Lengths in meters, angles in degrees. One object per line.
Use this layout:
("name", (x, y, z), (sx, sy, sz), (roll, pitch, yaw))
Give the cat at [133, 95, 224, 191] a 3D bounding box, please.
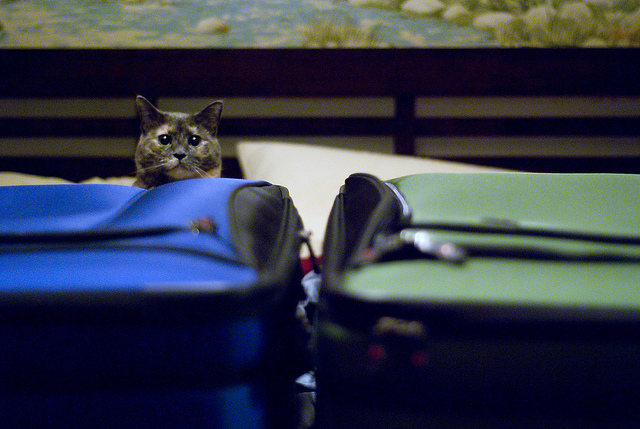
("cat", (-0.551, -0.252, 2.845), (0.402, 0.444, 0.470), (1, -12, -9))
